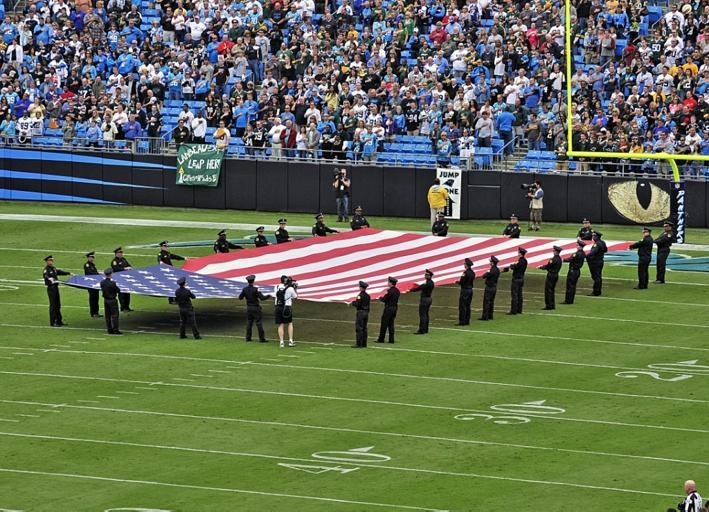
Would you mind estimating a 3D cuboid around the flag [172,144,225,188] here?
[{"bbox_3d":[-5.337,-3.185,60.600,1.991,1.164,0.146,7,8,17],"label":"flag"}]

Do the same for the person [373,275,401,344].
[{"bbox_3d":[1.071,1.357,42.409,0.659,1.492,0.662,2,24,-18],"label":"person"}]
